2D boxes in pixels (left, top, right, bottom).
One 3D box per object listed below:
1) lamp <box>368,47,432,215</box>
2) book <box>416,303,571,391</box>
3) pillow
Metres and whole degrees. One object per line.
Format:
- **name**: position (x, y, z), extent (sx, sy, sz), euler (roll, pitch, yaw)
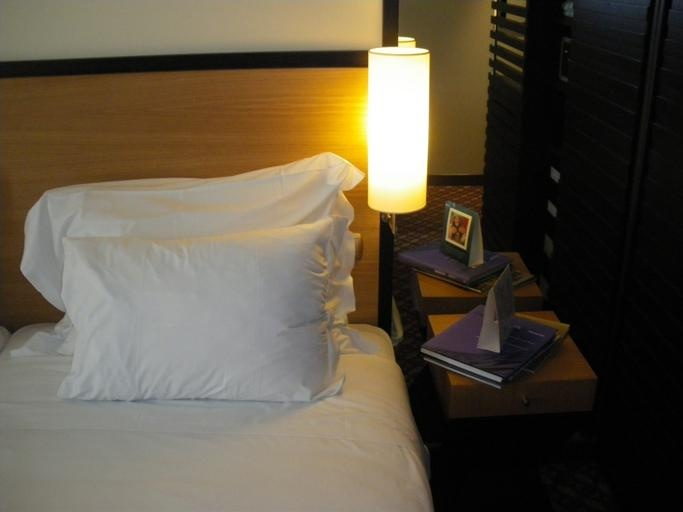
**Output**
- **lamp**: position (0.183, -0.414, 1.957), extent (0.245, 0.667, 0.265), euler (3, 28, 8)
- **book**: position (0.528, 0.301, 2.042), extent (0.297, 0.068, 0.305), euler (19, 32, 37)
- **pillow**: position (-0.491, 0.067, 1.938), extent (1.116, 0.527, 0.661), euler (1, 32, 2)
